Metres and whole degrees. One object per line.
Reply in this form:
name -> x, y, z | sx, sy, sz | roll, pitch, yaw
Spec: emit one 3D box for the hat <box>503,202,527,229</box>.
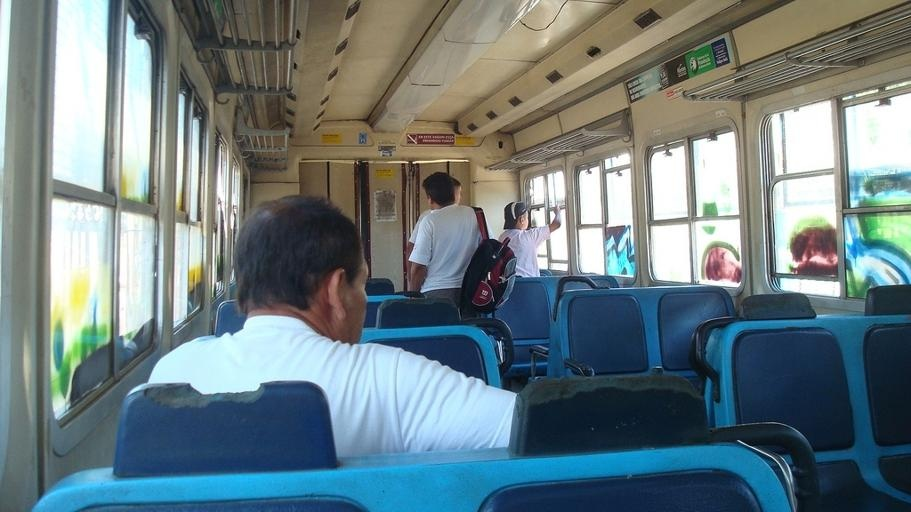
hat -> 0.772, -0.552, 8.198 | 0.269, 0.197, 0.365 | -23, -9, -27
